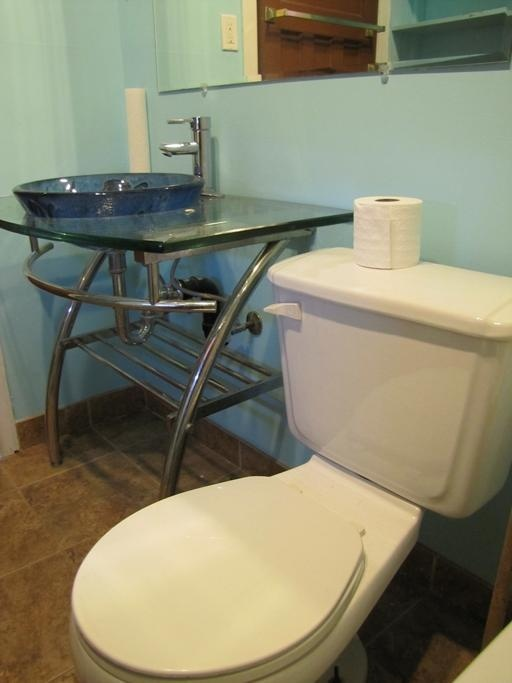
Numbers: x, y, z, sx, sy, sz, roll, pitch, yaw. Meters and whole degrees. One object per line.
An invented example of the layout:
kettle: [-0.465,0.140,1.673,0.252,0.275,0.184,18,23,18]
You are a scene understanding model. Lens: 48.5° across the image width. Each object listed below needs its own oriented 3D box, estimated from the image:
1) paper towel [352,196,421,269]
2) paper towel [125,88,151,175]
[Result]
paper towel: [0.210,-0.183,0.973,0.114,0.102,0.125,17,30,41]
paper towel: [-0.325,-0.583,1.568,0.059,0.210,0.138,-5,24,-9]
